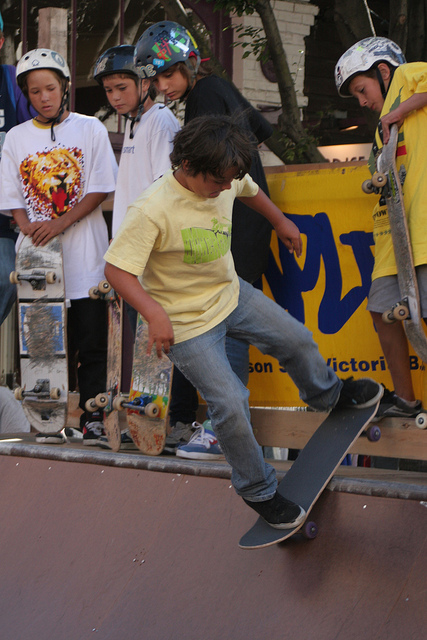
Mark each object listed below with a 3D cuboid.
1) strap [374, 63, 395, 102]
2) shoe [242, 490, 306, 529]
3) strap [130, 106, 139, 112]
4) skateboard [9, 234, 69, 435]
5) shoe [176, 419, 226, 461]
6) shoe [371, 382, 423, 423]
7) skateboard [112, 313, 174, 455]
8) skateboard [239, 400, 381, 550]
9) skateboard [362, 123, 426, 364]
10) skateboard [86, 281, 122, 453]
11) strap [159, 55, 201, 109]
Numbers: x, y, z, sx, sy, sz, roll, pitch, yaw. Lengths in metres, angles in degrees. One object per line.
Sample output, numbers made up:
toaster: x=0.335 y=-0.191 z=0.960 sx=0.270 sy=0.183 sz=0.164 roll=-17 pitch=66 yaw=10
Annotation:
strap: x=0.764 y=-1.054 z=2.820 sx=0.099 sy=0.152 sz=0.039 roll=3 pitch=12 yaw=-1
shoe: x=0.182 y=0.575 z=1.959 sx=0.100 sy=0.085 sz=0.247 roll=-18 pitch=8 yaw=-27
strap: x=-0.387 y=-1.052 z=3.150 sx=0.033 sy=0.031 sz=0.025 roll=13 pitch=0 yaw=2
skateboard: x=-0.869 y=0.078 z=3.228 sx=0.300 sy=1.022 sz=0.263 roll=-4 pitch=9 yaw=4
shoe: x=-0.034 y=0.526 z=2.774 sx=0.114 sy=0.186 sz=0.337 roll=-8 pitch=-18 yaw=40
shoe: x=0.791 y=0.362 z=2.785 sx=0.280 sy=0.160 sz=0.224 roll=0 pitch=17 yaw=7
skateboard: x=-0.257 y=0.320 z=2.820 sx=0.122 sy=0.722 sz=0.231 roll=17 pitch=-15 yaw=-37
skateboard: x=0.385 y=0.500 z=2.077 sx=0.114 sy=0.649 sz=0.166 roll=39 pitch=-17 yaw=-2
skateboard: x=0.662 y=-0.292 z=2.521 sx=0.165 sy=0.923 sz=0.203 roll=0 pitch=-14 yaw=-16
skateboard: x=-0.538 y=0.239 z=3.098 sx=0.129 sy=0.799 sz=0.212 roll=15 pitch=-18 yaw=-34
strap: x=-0.107 y=-1.104 z=2.844 sx=0.104 sy=0.184 sz=0.215 roll=-5 pitch=8 yaw=-2
